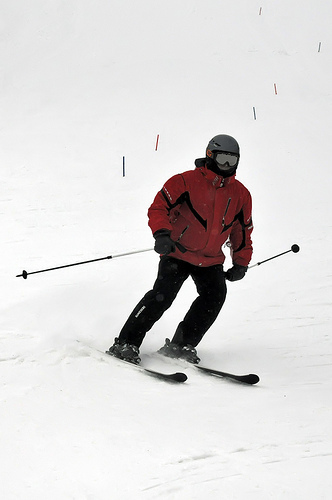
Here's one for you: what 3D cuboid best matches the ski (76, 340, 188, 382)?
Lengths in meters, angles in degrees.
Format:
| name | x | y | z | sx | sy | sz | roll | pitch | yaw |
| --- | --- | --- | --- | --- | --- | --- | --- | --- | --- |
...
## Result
| name | x | y | z | sx | sy | sz | roll | pitch | yaw |
| --- | --- | --- | --- | --- | --- | --- | --- | --- | --- |
| ski | -0.216 | 0.748 | 3.453 | 0.568 | 0.055 | 0.054 | 19 | -20 | 12 |

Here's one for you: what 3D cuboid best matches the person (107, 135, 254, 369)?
| name | x | y | z | sx | sy | sz | roll | pitch | yaw |
| --- | --- | --- | --- | --- | --- | --- | --- | --- | --- |
| person | 0.201 | -0.012 | 3.879 | 0.406 | 1.373 | 1.150 | 15 | 7 | 43 |

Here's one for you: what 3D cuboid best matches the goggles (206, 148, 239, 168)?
| name | x | y | z | sx | sy | sz | roll | pitch | yaw |
| --- | --- | --- | --- | --- | --- | --- | --- | --- | --- |
| goggles | 0.402 | -0.673 | 3.797 | 0.246 | 0.112 | 0.148 | 10 | 4 | 9 |

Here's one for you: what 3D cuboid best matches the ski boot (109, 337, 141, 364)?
| name | x | y | z | sx | sy | sz | roll | pitch | yaw |
| --- | --- | --- | --- | --- | --- | --- | --- | --- | --- |
| ski boot | -0.295 | 0.687 | 3.583 | 0.200 | 0.072 | 0.140 | 23 | -3 | 30 |

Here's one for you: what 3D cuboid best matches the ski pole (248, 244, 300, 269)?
| name | x | y | z | sx | sy | sz | roll | pitch | yaw |
| --- | --- | --- | --- | --- | --- | --- | --- | --- | --- |
| ski pole | 1.501 | 0.109 | 7.151 | 0.089 | 0.627 | 0.088 | 26 | 38 | -63 |
